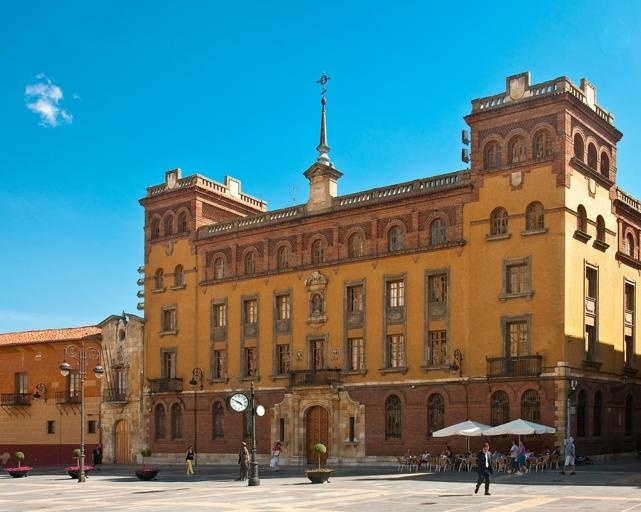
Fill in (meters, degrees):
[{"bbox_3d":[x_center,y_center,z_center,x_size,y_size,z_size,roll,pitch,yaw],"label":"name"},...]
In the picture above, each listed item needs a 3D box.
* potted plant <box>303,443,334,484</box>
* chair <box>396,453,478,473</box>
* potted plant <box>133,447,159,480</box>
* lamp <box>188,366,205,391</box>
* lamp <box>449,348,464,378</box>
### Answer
[{"bbox_3d":[-0.047,11.953,72.774,1.876,2.895,2.146,6,-12,-17],"label":"potted plant"},{"bbox_3d":[6.353,11.722,72.709,2.907,1.400,2.766,-11,-13,19],"label":"chair"},{"bbox_3d":[-9.525,11.613,70.753,1.418,1.850,1.373,0,-3,-6],"label":"potted plant"},{"bbox_3d":[-8.115,8.237,85.269,0.882,1.502,0.372,-6,-18,14],"label":"lamp"},{"bbox_3d":[7.919,6.280,74.494,0.817,1.683,0.534,-5,-18,11],"label":"lamp"}]
